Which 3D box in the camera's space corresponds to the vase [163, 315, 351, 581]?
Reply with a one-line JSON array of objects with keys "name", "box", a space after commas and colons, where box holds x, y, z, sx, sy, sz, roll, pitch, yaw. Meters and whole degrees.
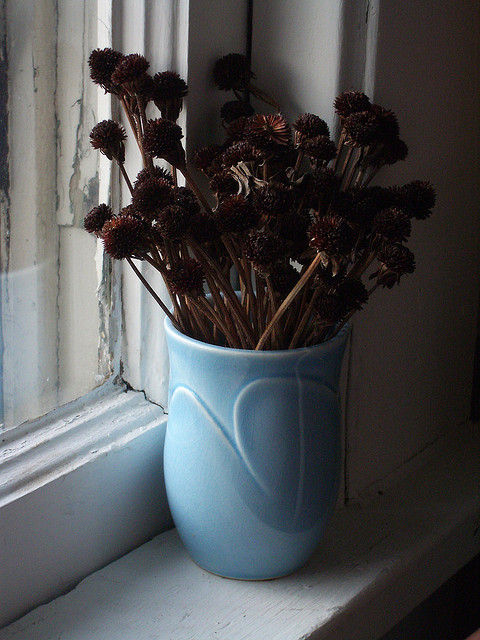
[{"name": "vase", "box": [0.019, 0.101, 0.512, 0.122, 0.190, 0.125, 4, -1, 22]}]

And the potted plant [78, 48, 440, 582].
[{"name": "potted plant", "box": [0.028, 0.015, 0.487, 0.202, 0.356, 0.231, 0, 8, -2]}]
